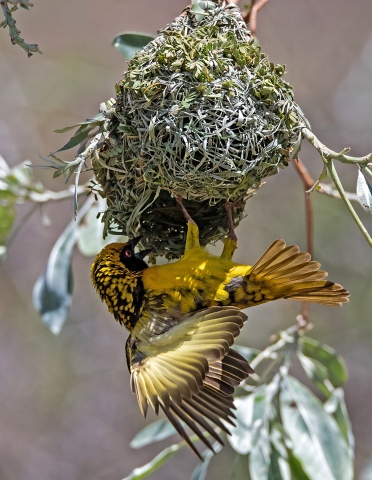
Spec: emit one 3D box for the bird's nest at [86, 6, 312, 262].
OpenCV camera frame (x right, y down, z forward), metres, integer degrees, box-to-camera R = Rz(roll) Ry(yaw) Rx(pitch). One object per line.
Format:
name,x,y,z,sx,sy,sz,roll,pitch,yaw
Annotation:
bird's nest,0.050,-0.349,1.976,0.659,0.734,0.627,20,49,4
